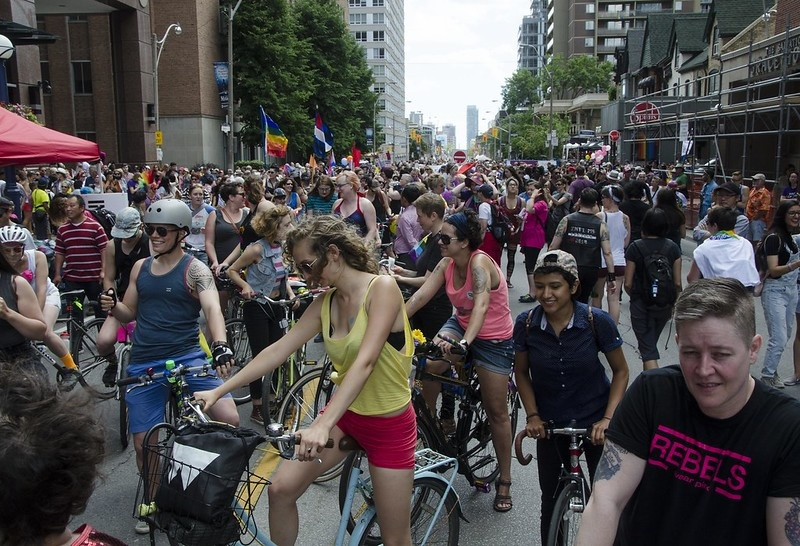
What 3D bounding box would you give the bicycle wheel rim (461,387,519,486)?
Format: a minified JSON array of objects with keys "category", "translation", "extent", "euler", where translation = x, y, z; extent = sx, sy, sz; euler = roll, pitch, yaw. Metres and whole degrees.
[{"category":"bicycle wheel rim","translation":[0.773,1.483,6.581],"extent":[0.461,0.615,0.975],"euler":[-14,3,19]}]
